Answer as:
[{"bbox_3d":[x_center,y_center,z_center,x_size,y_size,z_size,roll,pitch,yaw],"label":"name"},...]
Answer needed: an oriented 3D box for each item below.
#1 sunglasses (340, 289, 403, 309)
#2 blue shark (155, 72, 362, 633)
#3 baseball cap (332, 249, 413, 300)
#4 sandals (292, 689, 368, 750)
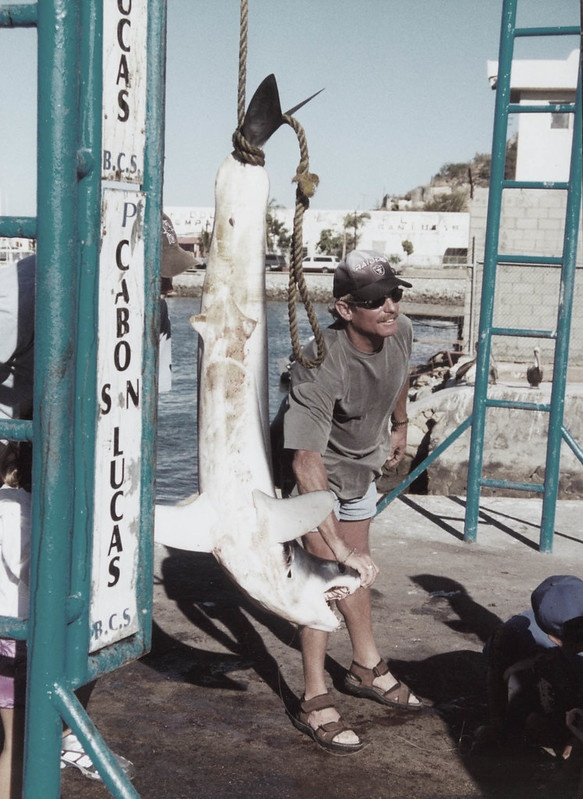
[{"bbox_3d":[0.275,-0.319,2.779,0.101,0.031,0.115,-19,3,-41],"label":"sunglasses"},{"bbox_3d":[-0.099,-0.066,2.108,0.608,1.211,0.282,1,12,-2],"label":"blue shark"},{"bbox_3d":[0.269,-0.429,2.854,0.224,0.153,0.307,-18,25,-28],"label":"baseball cap"},{"bbox_3d":[0.125,1.088,2.841,0.117,0.116,0.256,-2,4,-36],"label":"sandals"}]
